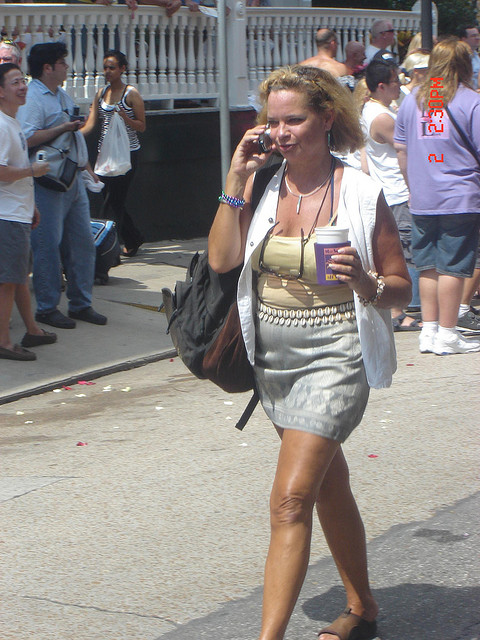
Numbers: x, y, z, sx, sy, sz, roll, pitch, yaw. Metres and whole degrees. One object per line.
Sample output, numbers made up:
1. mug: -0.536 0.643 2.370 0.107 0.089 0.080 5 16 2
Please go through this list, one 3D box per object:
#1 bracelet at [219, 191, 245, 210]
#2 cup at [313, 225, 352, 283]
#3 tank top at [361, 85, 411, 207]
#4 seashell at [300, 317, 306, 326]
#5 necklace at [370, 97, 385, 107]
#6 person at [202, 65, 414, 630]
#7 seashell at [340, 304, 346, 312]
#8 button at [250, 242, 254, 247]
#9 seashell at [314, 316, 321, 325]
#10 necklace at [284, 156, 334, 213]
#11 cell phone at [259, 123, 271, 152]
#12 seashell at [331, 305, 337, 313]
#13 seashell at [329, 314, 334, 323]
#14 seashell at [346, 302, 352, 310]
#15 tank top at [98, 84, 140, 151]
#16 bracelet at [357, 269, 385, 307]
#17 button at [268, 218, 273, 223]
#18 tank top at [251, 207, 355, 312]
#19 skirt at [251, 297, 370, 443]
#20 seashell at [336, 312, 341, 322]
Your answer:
1. bracelet: -0.021 -0.355 2.019 0.049 0.029 0.059 30 6 24
2. cup: 0.226 -0.157 1.682 0.083 0.138 0.077 -2 9 0
3. tank top: 1.475 -1.678 6.963 0.453 1.035 0.404 -1 9 9
4. seashell: 0.171 0.005 1.858 0.015 0.019 0.005 -4 -18 16
5. necklace: 1.358 -2.200 6.913 0.074 0.089 0.155 -8 10 -38
6. person: 0.232 -0.037 1.854 0.552 1.310 0.775 -4 9 -10
7. seashell: 0.278 -0.032 1.863 0.016 0.017 0.019 1 -7 -1
8. button: 0.034 -0.211 1.925 0.018 0.015 0.004 -3 -3 14
9. seashell: 0.208 0.002 1.848 0.015 0.021 0.012 -1 9 5
10. necklace: 0.201 -0.383 1.965 0.142 0.153 0.095 -1 9 3
11. cell phone: 0.071 -0.508 1.937 0.024 0.056 0.043 -4 26 6
12. seashell: 0.254 -0.027 1.857 0.019 0.020 0.006 0 -6 4
13. seashell: 0.246 -0.003 1.847 0.018 0.020 0.006 -2 -5 11
14. seashell: 0.296 -0.036 1.870 0.013 0.019 0.005 0 -14 2
15. tank top: -1.631 -2.706 9.235 0.606 0.868 0.394 -5 9 -22
16. bracelet: 0.335 -0.087 1.826 0.076 0.087 0.032 -21 40 -38
17. button: 0.086 -0.278 1.927 0.016 0.013 0.004 -2 -2 1
18. tank top: 0.134 -0.139 1.877 0.222 0.269 0.343 -3 6 -35
19. skirt: 0.182 0.112 1.942 0.330 0.386 0.265 7 17 29
20. seashell: 0.266 -0.007 1.852 0.013 0.016 0.005 -4 -5 21
